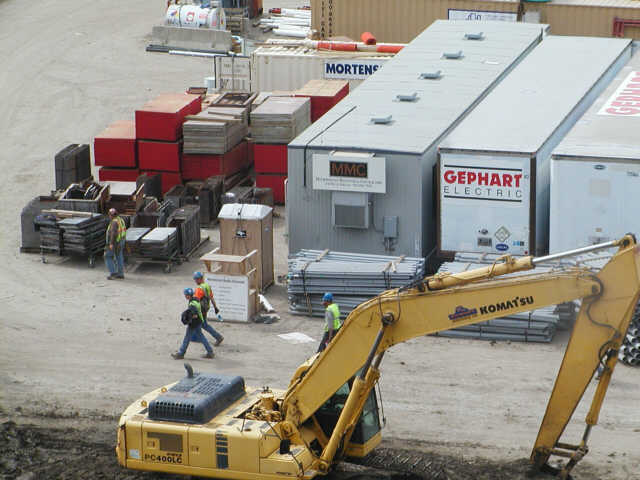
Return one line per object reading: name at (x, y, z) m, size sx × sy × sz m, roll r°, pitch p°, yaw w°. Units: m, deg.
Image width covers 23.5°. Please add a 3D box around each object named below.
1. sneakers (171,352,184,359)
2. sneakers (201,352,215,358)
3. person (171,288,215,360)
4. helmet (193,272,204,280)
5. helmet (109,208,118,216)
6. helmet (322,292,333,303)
sneakers at (-3.582, 2.944, 38.824) m, size 0.271 × 0.201 × 0.147 m, roll 17°, pitch 9°, yaw 7°
sneakers at (-2.817, 2.937, 38.854) m, size 0.333 × 0.151 × 0.128 m, roll 8°, pitch 20°, yaw 23°
person at (-3.191, 2.232, 39.185) m, size 1.157 × 1.768 × 0.811 m, roll 8°, pitch 33°, yaw 10°
helmet at (-3.051, 0.913, 38.765) m, size 0.180 × 0.202 × 0.236 m, roll -10°, pitch 24°, yaw -14°
helmet at (-5.778, -0.744, 43.073) m, size 0.241 × 0.193 × 0.401 m, roll 8°, pitch -7°, yaw -2°
helmet at (0.181, 1.413, 37.558) m, size 0.181 × 0.208 × 0.233 m, roll -18°, pitch 27°, yaw -30°
